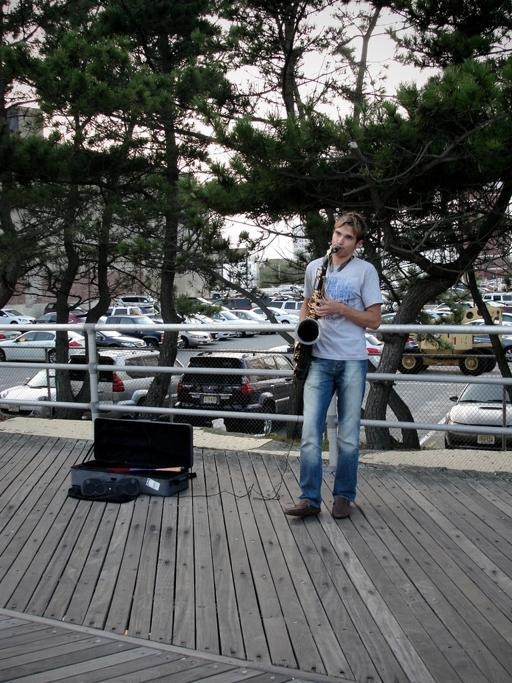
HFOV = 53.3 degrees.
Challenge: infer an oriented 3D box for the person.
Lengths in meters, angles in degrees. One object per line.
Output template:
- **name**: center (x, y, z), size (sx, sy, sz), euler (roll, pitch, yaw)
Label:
- **person**: center (0.447, 0.138, 2.843), size (0.450, 1.527, 0.624), euler (1, 1, 30)

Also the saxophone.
- **saxophone**: center (0.318, -0.140, 2.742), size (0.221, 0.720, 0.243), euler (0, -2, 4)
